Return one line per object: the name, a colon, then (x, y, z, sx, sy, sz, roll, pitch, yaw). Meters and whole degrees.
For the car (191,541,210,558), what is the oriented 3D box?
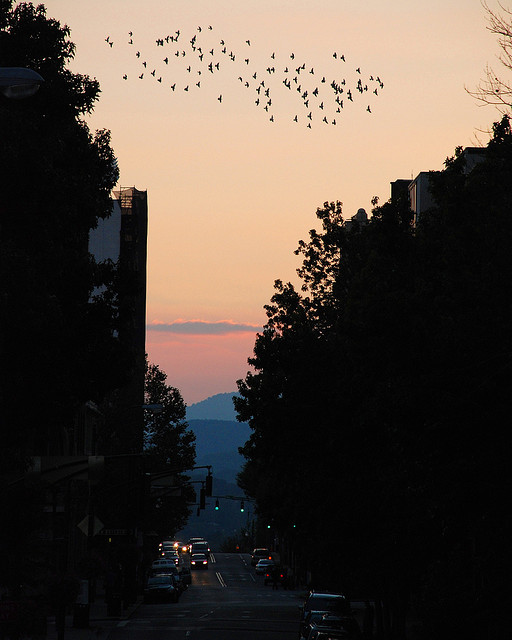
car: (-4.792, 19.734, 122.944, 1.060, 1.566, 2.342, 1, 4, -1)

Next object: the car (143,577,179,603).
car: (-3.914, 11.492, 59.124, 1.238, 1.079, 2.427, -15, 0, 0)

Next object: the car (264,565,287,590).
car: (1.235, 14.658, 80.548, 0.705, 1.211, 1.929, 1, 0, 2)
